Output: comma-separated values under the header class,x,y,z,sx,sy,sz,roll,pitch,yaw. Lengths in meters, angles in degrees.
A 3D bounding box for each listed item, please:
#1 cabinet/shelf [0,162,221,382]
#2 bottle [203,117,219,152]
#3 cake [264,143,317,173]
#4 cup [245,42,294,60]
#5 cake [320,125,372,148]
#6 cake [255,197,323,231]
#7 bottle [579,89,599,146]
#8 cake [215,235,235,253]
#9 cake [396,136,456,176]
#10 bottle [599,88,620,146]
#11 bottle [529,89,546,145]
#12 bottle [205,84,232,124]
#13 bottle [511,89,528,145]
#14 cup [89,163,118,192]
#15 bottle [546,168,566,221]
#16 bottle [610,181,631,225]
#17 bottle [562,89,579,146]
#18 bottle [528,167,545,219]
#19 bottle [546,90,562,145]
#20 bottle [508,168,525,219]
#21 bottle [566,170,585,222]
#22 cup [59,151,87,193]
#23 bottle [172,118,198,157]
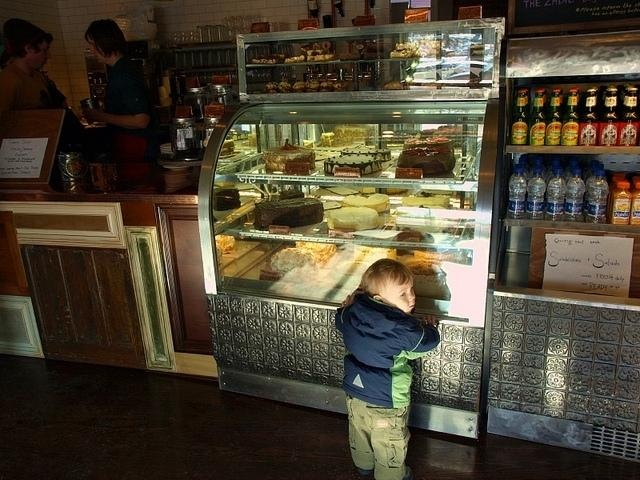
class,x,y,z,sx,sy,sz,roll,pitch,yaw
cabinet/shelf,-1.407,0.196,3.240,2.366,1.267,0.616,1,12,11
bottle,-0.716,-0.715,3.078,0.110,0.198,0.491,-5,12,-13
cake,-0.182,-0.505,2.819,0.302,0.117,0.239,2,14,4
cup,-0.304,-1.134,2.843,0.289,0.104,0.064,4,15,23
cake,0.159,-0.620,2.790,0.214,0.052,0.173,3,29,19
cake,-0.185,-0.184,2.952,0.429,0.107,0.184,-8,28,-17
bottle,1.418,-0.638,2.456,0.089,0.287,0.096,-2,15,0
cake,-0.586,0.020,2.924,0.126,0.098,0.067,-3,18,-6
cake,0.597,-0.458,2.578,0.257,0.105,0.282,6,31,12
bottle,1.516,-0.643,2.440,0.091,0.314,0.162,6,16,27
bottle,1.186,-0.660,2.533,0.081,0.300,0.106,4,15,19
bottle,-0.748,-1.018,3.552,0.240,0.249,0.190,6,19,6
bottle,1.116,-0.683,2.598,0.093,0.306,0.155,3,15,19
cup,-1.487,-0.426,3.187,0.184,0.199,0.134,-3,14,-7
bottle,1.296,-0.237,2.561,0.093,0.241,0.092,-2,14,0
bottle,1.589,-0.202,2.468,0.096,0.228,0.121,5,16,25
bottle,1.361,-0.656,2.527,0.085,0.294,0.216,5,15,25
bottle,1.210,-0.270,2.607,0.098,0.277,0.137,4,15,22
bottle,1.268,-0.654,2.521,0.080,0.292,0.149,5,15,24
bottle,1.112,-0.276,2.624,0.095,0.283,0.123,4,15,21
bottle,1.381,-0.250,2.535,0.097,0.280,0.125,5,16,26
cup,-1.722,-0.465,3.230,0.224,0.270,0.096,2,15,14
bottle,-1.005,-0.695,3.261,0.241,0.244,0.200,-3,23,-24
